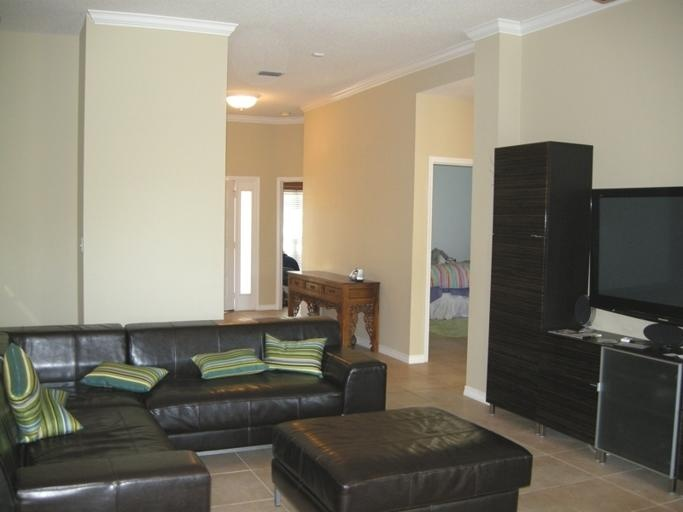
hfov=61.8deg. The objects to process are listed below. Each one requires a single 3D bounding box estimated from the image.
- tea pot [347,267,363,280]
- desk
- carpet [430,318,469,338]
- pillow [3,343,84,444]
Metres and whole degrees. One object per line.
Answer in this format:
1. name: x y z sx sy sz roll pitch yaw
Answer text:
1. tea pot: 0.176 0.224 7.317 0.157 0.143 0.158 3 -2 0
2. desk: -0.179 0.684 7.904 0.551 0.843 1.690 -1 6 -30
3. carpet: 1.628 1.078 8.705 0.576 0.070 1.129 4 11 10
4. pillow: -1.739 0.790 3.429 0.514 0.465 0.671 -2 24 -30
